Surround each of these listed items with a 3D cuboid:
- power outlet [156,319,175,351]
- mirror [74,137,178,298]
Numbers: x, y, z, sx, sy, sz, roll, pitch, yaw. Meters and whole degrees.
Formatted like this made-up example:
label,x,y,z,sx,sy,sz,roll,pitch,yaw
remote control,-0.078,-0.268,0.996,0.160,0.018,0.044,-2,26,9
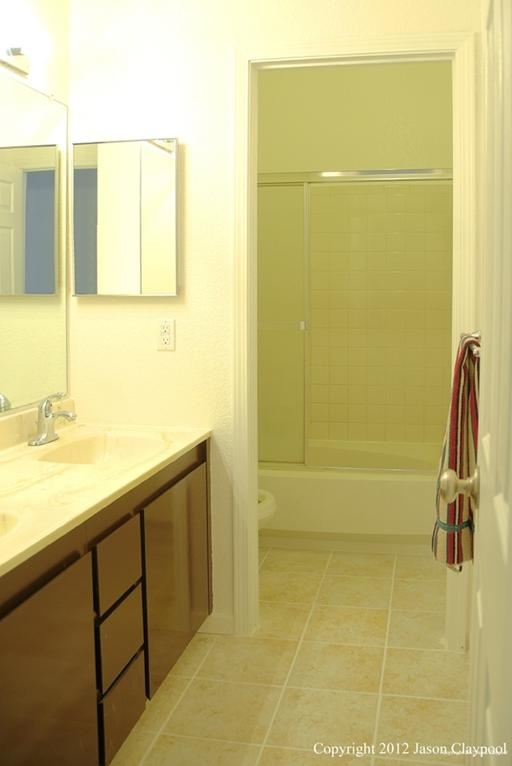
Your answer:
label,x,y,z,sx,sy,sz,roll,pitch,yaw
power outlet,-0.337,-0.189,2.210,0.080,0.191,0.016,3,9,15
mirror,-0.468,-0.638,2.173,0.427,0.788,0.032,1,6,13
